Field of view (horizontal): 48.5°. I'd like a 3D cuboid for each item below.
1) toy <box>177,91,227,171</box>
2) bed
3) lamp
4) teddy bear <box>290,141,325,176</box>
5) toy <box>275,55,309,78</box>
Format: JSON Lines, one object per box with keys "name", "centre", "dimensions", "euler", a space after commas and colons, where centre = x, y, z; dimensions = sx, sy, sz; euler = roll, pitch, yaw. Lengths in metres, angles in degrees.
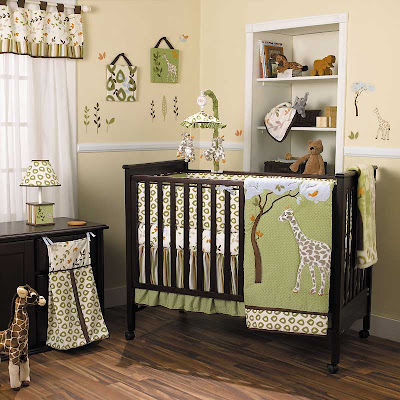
{"name": "toy", "centre": [0.039, -0.488, 3.035], "dimensions": [0.264, 0.620, 0.766], "euler": [0, 3, 3]}
{"name": "bed", "centre": [0.274, 0.238, 2.717], "dimensions": [1.465, 1.180, 0.833], "euler": [2, 5, 34]}
{"name": "lamp", "centre": [-0.955, -0.044, 2.640], "dimensions": [0.208, 0.383, 0.368], "euler": [-1, 3, -23]}
{"name": "teddy bear", "centre": [0.739, -0.277, 3.024], "dimensions": [0.246, 0.278, 0.162], "euler": [7, 10, 44]}
{"name": "toy", "centre": [0.644, -0.947, 3.128], "dimensions": [0.223, 0.171, 0.167], "euler": [1, 3, 8]}
